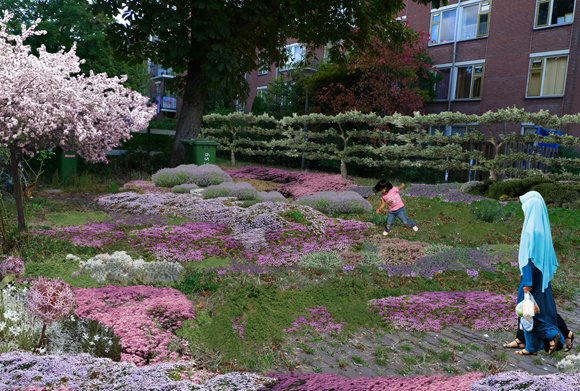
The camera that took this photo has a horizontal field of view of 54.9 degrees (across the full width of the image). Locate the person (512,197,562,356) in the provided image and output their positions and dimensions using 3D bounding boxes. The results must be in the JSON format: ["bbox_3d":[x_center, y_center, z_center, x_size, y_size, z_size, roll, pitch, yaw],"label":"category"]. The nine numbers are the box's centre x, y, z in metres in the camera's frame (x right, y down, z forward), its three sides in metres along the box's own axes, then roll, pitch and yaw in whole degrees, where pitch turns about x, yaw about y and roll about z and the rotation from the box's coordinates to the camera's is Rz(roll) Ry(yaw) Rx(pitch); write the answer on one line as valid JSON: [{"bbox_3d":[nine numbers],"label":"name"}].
[{"bbox_3d":[5.302,1.665,11.832,0.885,3.689,0.366,3,1,8],"label":"person"}]

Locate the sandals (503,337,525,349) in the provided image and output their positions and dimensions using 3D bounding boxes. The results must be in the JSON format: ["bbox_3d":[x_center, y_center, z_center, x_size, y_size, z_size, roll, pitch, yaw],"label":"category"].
[{"bbox_3d":[4.794,3.199,11.987,0.437,0.191,0.181,0,-4,22],"label":"sandals"}]

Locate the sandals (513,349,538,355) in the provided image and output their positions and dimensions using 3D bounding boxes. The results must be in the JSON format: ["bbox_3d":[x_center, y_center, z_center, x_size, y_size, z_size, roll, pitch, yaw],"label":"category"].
[{"bbox_3d":[4.996,3.298,11.814,0.424,0.106,0.174,3,-5,10],"label":"sandals"}]

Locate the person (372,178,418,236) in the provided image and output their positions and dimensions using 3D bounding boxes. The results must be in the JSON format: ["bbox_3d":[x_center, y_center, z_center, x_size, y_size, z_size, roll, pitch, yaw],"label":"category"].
[{"bbox_3d":[3.156,0.377,16.959,1.295,1.638,0.798,3,1,-43],"label":"person"}]

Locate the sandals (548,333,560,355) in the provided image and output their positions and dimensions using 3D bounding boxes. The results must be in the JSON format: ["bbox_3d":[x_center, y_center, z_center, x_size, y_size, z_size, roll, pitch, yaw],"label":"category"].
[{"bbox_3d":[5.529,3.132,11.771,0.196,0.483,0.127,6,3,-22],"label":"sandals"}]

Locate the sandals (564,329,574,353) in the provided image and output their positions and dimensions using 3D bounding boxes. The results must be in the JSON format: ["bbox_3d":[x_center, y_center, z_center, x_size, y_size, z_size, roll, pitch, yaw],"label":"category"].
[{"bbox_3d":[5.914,3.096,11.805,0.114,0.497,0.173,0,9,-7],"label":"sandals"}]

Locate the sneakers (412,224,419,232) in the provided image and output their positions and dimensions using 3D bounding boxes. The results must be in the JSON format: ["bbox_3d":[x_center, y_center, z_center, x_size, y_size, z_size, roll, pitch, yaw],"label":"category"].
[{"bbox_3d":[3.812,1.024,17.146,0.194,0.161,0.382,-5,-3,2],"label":"sneakers"}]
